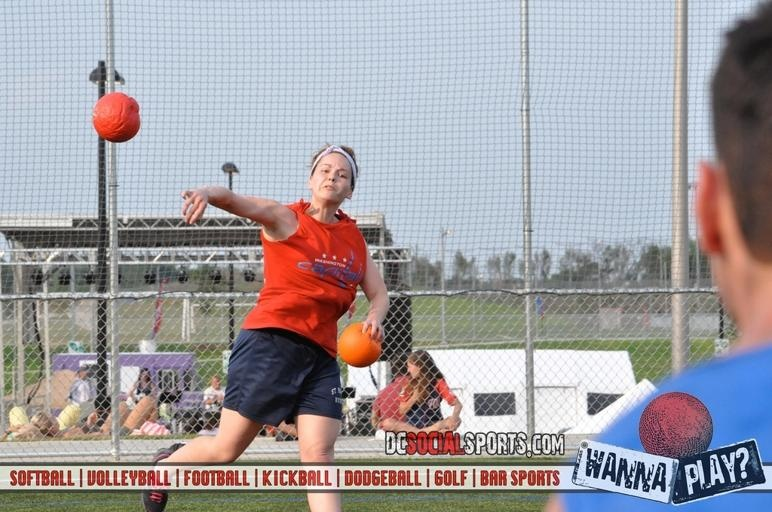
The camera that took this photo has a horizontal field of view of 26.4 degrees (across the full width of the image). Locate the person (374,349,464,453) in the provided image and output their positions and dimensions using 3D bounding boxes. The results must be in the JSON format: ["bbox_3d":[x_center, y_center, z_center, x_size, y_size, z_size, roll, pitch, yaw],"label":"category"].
[{"bbox_3d":[0.262,1.468,17.087,0.927,0.964,0.579,-1,-8,8],"label":"person"}]
